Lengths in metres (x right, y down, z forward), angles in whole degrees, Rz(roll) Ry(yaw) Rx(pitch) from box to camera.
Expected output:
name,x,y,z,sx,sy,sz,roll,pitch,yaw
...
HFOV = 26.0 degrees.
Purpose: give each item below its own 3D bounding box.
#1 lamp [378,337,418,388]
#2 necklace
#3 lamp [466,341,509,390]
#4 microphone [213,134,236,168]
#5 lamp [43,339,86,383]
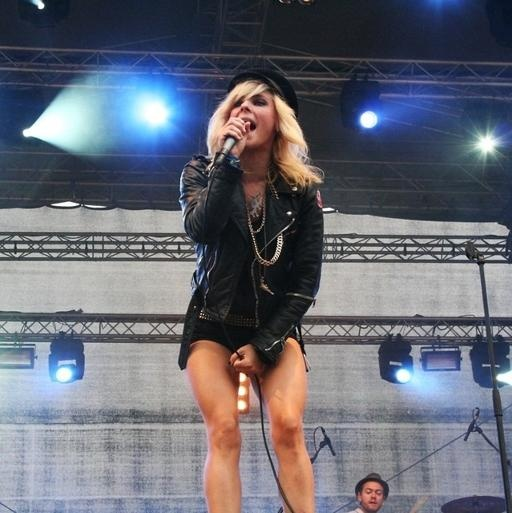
name,x,y,z,sx,sy,sz,roll,pitch,yaw
lamp,2.540,1.862,20.429,0.595,0.853,0.266,-3,-11,5
necklace,0.032,-0.349,12.129,0.649,0.914,0.208,3,-17,-16
lamp,4.204,1.874,20.152,1.013,1.070,0.397,-4,-1,15
microphone,-0.335,-1.140,12.015,0.115,0.435,0.129,30,-5,28
lamp,-3.443,1.865,20.075,0.686,0.752,0.199,4,-7,-11
